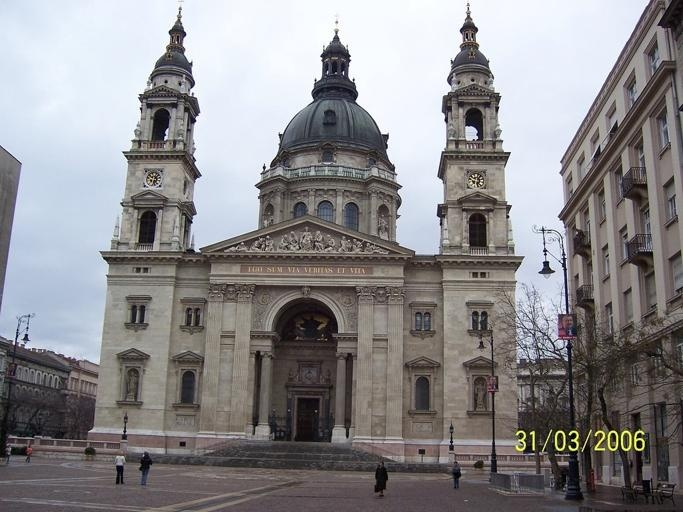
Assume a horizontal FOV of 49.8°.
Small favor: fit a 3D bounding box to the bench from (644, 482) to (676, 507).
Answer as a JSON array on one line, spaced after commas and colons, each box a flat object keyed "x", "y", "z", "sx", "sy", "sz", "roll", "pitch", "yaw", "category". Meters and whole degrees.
[{"x": 15.555, "y": 11.683, "z": 36.014, "sx": 0.630, "sy": 0.905, "sz": 1.520, "roll": -4, "pitch": -35, "yaw": -6, "category": "bench"}]

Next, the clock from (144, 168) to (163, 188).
[{"x": -19.481, "y": -7.956, "z": 76.612, "sx": 2.133, "sy": 2.372, "sz": 0.175, "roll": -2, "pitch": -17, "yaw": -3, "category": "clock"}]

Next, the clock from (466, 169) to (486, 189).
[{"x": 13.806, "y": -7.764, "z": 75.550, "sx": 2.046, "sy": 2.053, "sz": 0.150, "roll": 1, "pitch": -10, "yaw": 5, "category": "clock"}]
